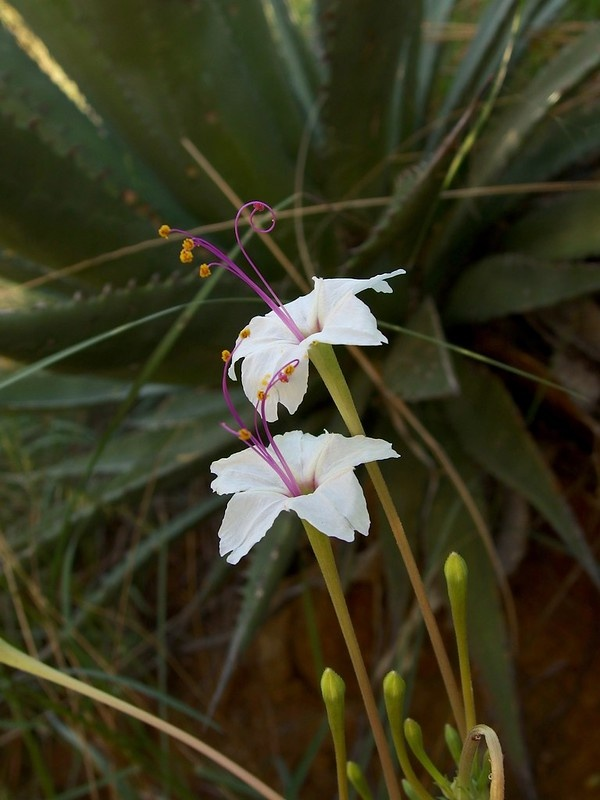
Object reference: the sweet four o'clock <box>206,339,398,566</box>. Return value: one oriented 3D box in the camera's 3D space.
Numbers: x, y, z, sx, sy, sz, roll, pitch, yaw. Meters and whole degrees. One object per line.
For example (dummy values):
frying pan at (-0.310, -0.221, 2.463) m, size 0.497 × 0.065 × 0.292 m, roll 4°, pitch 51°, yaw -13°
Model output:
sweet four o'clock at (-0.004, 0.068, 0.534) m, size 0.046 × 0.135 × 0.144 m, roll -8°, pitch -55°, yaw 44°

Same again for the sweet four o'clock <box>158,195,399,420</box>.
sweet four o'clock at (-0.014, -0.085, 0.552) m, size 0.134 × 0.143 × 0.157 m, roll -42°, pitch -84°, yaw -25°
